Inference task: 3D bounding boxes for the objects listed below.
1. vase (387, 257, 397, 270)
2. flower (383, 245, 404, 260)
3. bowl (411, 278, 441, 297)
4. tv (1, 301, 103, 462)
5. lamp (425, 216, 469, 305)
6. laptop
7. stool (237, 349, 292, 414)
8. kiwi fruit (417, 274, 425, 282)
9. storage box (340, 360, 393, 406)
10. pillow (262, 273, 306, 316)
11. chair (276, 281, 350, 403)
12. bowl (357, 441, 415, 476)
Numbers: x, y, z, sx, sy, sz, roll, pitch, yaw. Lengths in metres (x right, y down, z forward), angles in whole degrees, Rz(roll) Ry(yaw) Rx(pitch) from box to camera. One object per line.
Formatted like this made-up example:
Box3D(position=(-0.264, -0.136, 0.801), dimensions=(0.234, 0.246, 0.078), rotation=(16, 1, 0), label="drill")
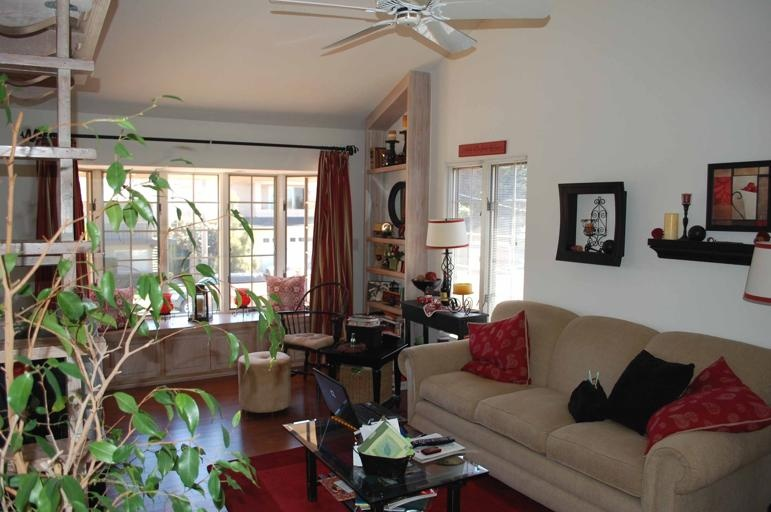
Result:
Box3D(position=(0.082, 0.095, 6.681), dimensions=(0.141, 0.137, 0.150), rotation=(4, -4, -32), label="vase")
Box3D(position=(0.106, -0.046, 6.745), dimensions=(0.189, 0.140, 0.204), rotation=(4, -3, -34), label="flower")
Box3D(position=(0.459, 0.336, 5.958), dimensions=(0.241, 0.152, 0.234), rotation=(1, -3, 0), label="bowl")
Box3D(position=(-1.319, 0.559, 2.137), dimensions=(0.465, 0.454, 0.334), rotation=(3, 4, 43), label="tv")
Box3D(position=(0.609, 0.100, 5.447), dimensions=(0.430, 0.854, 0.406), rotation=(2, -3, -15), label="lamp")
Box3D(position=(-0.200, 0.997, 3.702), dimensions=(0.410, 0.455, 0.545), rotation=(-11, -2, -12), label="laptop")
Box3D(position=(-1.173, 1.259, 5.188), dimensions=(0.470, 0.578, 0.266), rotation=(-1, 3, -16), label="stool")
Box3D(position=(0.388, 0.238, 5.934), dimensions=(0.057, 0.053, 0.056), rotation=(1, 4, 32), label="kiwi fruit")
Box3D(position=(-0.182, 1.171, 5.333), dimensions=(0.536, 0.494, 0.371), rotation=(0, 0, -23), label="storage box")
Box3D(position=(-1.302, 0.495, 6.932), dimensions=(0.524, 0.471, 0.188), rotation=(1, -2, -25), label="pillow")
Box3D(position=(-0.841, 0.888, 6.222), dimensions=(0.773, 1.142, 0.722), rotation=(0, -1, 15), label="chair")
Box3D(position=(-0.012, 1.222, 3.225), dimensions=(0.240, 0.095, 0.184), rotation=(4, -7, -4), label="bowl")
